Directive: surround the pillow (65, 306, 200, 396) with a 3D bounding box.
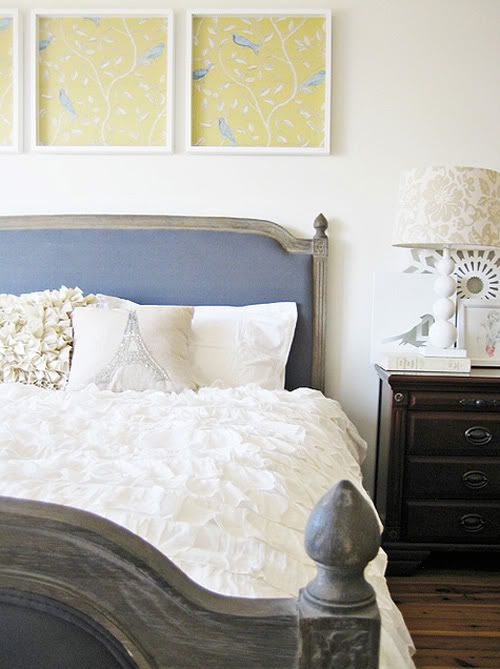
[{"bbox_3d":[-0.385,0.053,2.274,0.373,0.285,0.099,1,-19,-3],"label":"pillow"}]

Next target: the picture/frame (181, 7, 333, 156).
[{"bbox_3d":[0.051,-1.007,2.622,0.712,0.560,0.030,0,7,2],"label":"picture/frame"}]

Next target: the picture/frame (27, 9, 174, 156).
[{"bbox_3d":[-0.569,-1.018,2.655,0.708,0.583,0.048,0,6,1],"label":"picture/frame"}]
